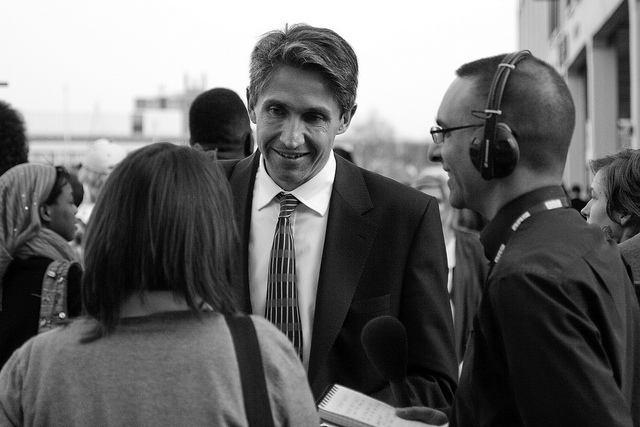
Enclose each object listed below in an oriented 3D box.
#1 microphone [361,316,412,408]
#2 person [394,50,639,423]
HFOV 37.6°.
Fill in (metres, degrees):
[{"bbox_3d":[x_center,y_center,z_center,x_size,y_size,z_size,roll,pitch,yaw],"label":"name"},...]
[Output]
[{"bbox_3d":[0.273,0.605,3.830,0.217,0.377,0.152,3,6,4],"label":"microphone"},{"bbox_3d":[0.846,0.080,3.663,0.804,1.456,0.705,3,6,5],"label":"person"}]
